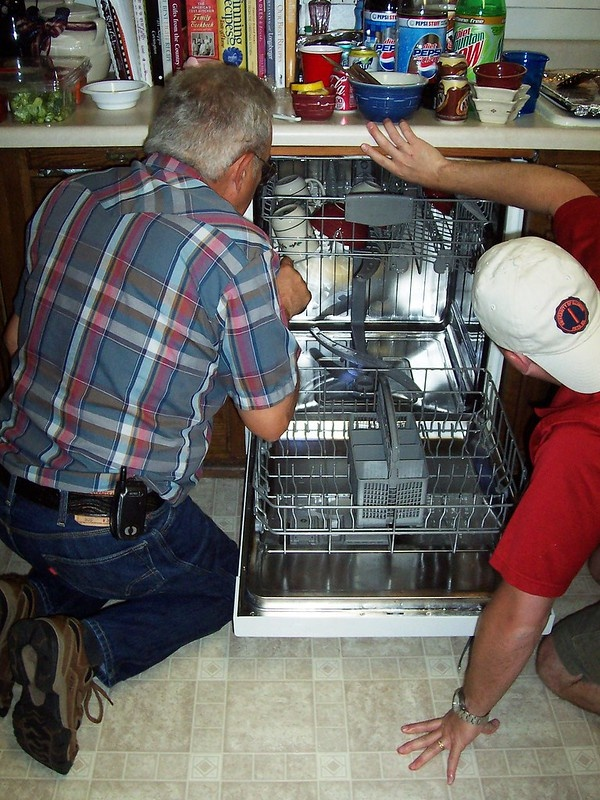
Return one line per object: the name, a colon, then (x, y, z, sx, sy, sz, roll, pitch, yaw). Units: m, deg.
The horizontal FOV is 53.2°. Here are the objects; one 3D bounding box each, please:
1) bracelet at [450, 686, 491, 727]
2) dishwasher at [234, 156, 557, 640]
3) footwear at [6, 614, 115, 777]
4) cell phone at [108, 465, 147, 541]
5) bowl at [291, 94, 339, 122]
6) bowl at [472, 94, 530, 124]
bracelet: (0.277, 0.499, 0.956, 0.055, 0.028, 0.071, 15, 11, -12)
dishwasher: (0.153, -0.013, 1.484, 0.670, 0.440, 1.201, 1, 47, -4)
footwear: (-0.422, 0.467, 1.021, 0.123, 0.270, 0.136, -1, 11, 22)
cell phone: (-0.265, 0.153, 0.918, 0.064, 0.157, 0.037, -1, 40, -18)
bowl: (0.032, -0.643, 1.306, 0.071, 0.043, 0.073, 1, 33, -1)
bowl: (0.435, -0.626, 1.291, 0.088, 0.038, 0.066, -4, 45, 3)
